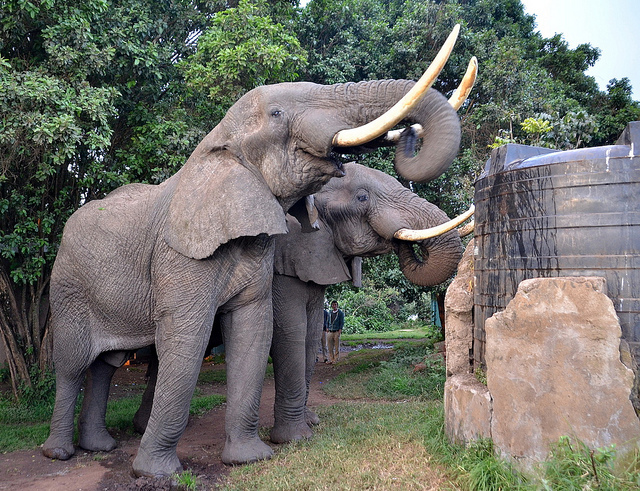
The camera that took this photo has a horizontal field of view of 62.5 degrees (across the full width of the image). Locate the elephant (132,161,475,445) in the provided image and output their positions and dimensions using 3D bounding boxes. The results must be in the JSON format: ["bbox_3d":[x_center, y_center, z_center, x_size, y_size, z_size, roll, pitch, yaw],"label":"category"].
[{"bbox_3d":[-0.592,0.594,7.209,4.733,4.132,2.624,-4,3,11],"label":"elephant"}]
